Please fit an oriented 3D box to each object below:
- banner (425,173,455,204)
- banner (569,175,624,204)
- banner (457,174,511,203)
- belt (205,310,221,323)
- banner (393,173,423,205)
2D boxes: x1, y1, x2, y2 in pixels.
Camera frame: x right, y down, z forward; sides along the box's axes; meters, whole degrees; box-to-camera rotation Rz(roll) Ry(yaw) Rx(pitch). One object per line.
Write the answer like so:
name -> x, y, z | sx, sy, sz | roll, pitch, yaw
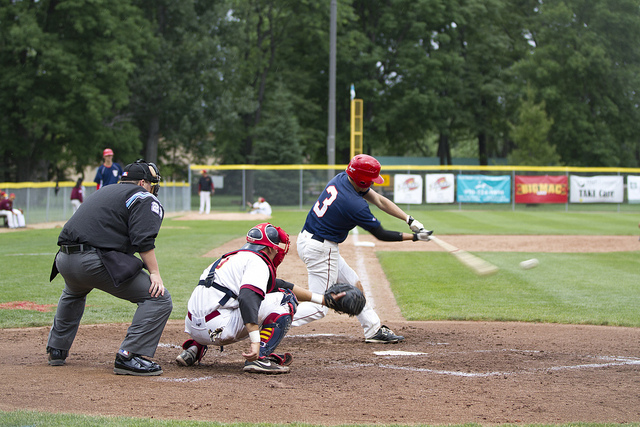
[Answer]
banner -> 6.402, -1.353, 49.644 | 1.561, 1.543, 0.151 | 1, 2, -4
banner -> 14.408, -1.220, 48.400 | 2.635, 1.536, 0.442 | -1, 0, 14
banner -> 8.766, -1.297, 49.698 | 2.853, 1.495, 0.462 | 0, 0, -6
belt -> -2.820, 2.693, 24.263 | 0.376, 0.283, 0.018 | 0, 0, 0
banner -> 4.720, -1.355, 49.669 | 1.984, 1.891, 0.206 | 0, 5, -6
